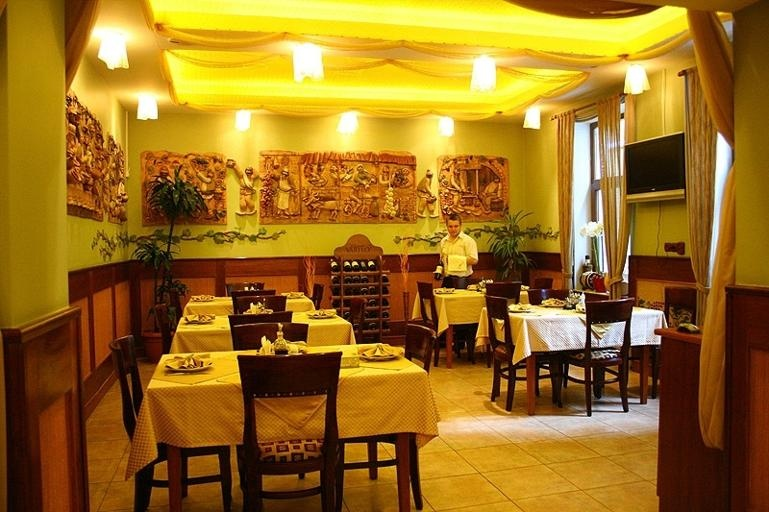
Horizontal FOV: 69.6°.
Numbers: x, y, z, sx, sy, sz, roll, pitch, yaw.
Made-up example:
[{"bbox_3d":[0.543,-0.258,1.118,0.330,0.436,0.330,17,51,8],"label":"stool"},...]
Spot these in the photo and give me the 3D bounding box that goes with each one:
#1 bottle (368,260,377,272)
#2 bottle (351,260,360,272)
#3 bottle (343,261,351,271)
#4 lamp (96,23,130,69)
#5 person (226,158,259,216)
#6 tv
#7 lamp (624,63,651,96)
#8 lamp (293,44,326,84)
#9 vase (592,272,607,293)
[{"bbox_3d":[-0.229,0.166,10.087,0.166,0.171,0.269,-28,10,2],"label":"bottle"},{"bbox_3d":[-0.533,0.164,9.984,0.161,0.167,0.260,-13,17,-10],"label":"bottle"},{"bbox_3d":[-0.676,0.172,9.918,0.123,0.145,0.363,-2,-11,-6],"label":"bottle"},{"bbox_3d":[-3.269,-2.434,6.641,0.320,0.458,0.528,-4,6,-24],"label":"lamp"},{"bbox_3d":[-2.600,-1.263,10.143,0.581,1.027,0.183,-2,6,-14],"label":"person"},{"bbox_3d":[3.898,-1.261,7.910,0.119,1.009,1.134,0,-2,-22],"label":"tv"},{"bbox_3d":[3.370,-2.369,7.357,0.265,0.378,0.207,2,6,25],"label":"lamp"},{"bbox_3d":[-0.974,-2.452,7.004,0.360,0.450,0.293,-2,6,-13],"label":"lamp"},{"bbox_3d":[3.472,0.415,8.903,0.251,0.303,0.256,-1,-9,21],"label":"vase"}]
